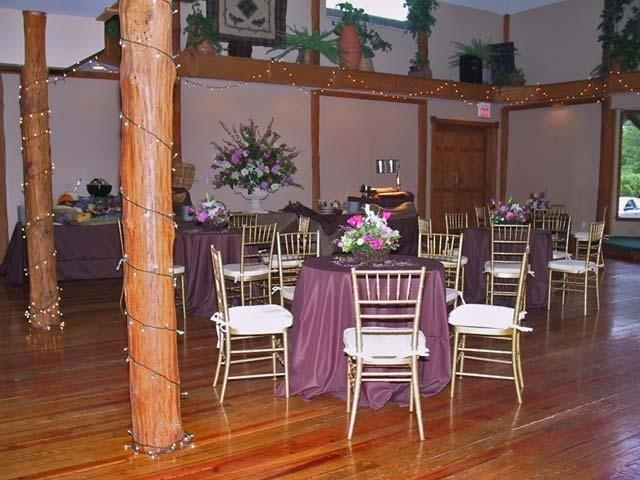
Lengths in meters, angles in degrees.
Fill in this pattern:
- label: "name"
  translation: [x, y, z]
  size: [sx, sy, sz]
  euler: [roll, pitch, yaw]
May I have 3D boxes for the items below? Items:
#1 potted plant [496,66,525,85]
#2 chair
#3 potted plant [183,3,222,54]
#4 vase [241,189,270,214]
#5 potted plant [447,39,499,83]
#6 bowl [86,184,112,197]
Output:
- label: "potted plant"
  translation: [4.129, -3.609, 12.473]
  size: [0.674, 0.449, 0.446]
  euler: [2, 11, 11]
- label: "chair"
  translation: [0.454, 0.637, 4.128]
  size: [1.943, 1.115, 1.234]
  euler: [-2, 11, -9]
- label: "potted plant"
  translation: [-1.909, -3.348, 9.307]
  size: [0.605, 0.796, 0.521]
  euler: [16, 5, 37]
- label: "vase"
  translation: [-0.813, -0.512, 7.326]
  size: [0.380, 0.306, 0.365]
  euler: [0, 0, 43]
- label: "potted plant"
  translation: [3.249, -3.936, 12.406]
  size: [0.869, 1.043, 1.274]
  euler: [7, 13, 31]
- label: "bowl"
  translation: [-3.347, -0.748, 8.628]
  size: [0.329, 0.196, 0.322]
  euler: [0, 11, 0]
